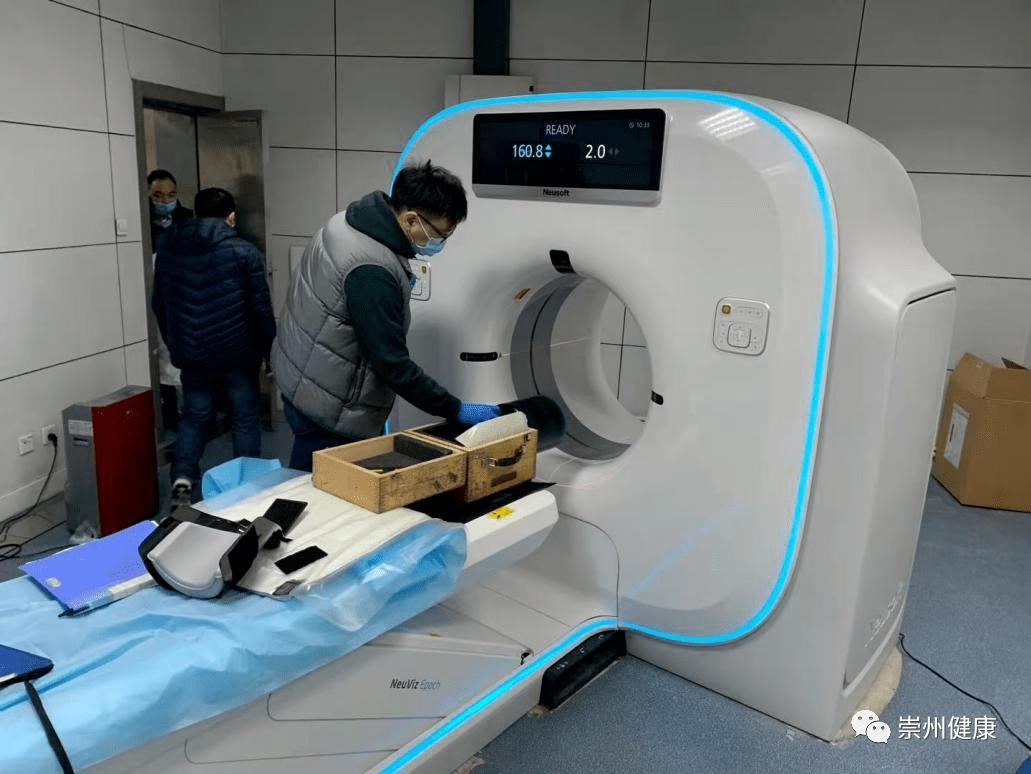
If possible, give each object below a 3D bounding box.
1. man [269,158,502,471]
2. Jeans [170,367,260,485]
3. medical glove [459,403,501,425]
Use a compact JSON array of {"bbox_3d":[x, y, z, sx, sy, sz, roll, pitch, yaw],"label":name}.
[{"bbox_3d":[-0.555,-0.051,2.708,0.694,1.501,0.822,5,19,-16],"label":"man"},{"bbox_3d":[-1.514,0.202,3.660,0.422,0.252,0.924,-2,51,-21],"label":"Jeans"},{"bbox_3d":[-0.124,0.082,2.435,0.115,0.042,0.069,-6,11,-37],"label":"medical glove"}]
